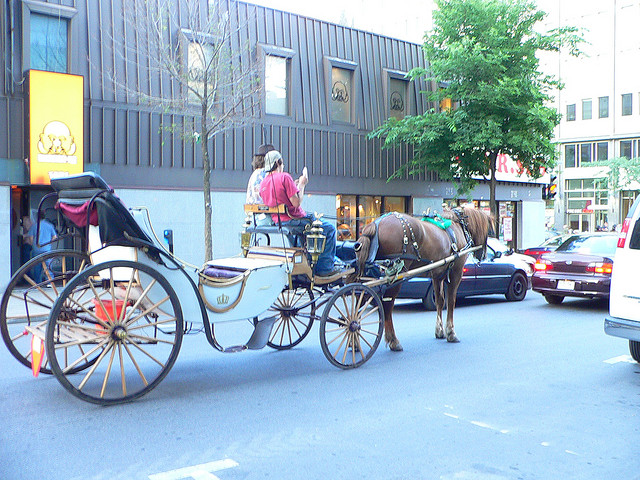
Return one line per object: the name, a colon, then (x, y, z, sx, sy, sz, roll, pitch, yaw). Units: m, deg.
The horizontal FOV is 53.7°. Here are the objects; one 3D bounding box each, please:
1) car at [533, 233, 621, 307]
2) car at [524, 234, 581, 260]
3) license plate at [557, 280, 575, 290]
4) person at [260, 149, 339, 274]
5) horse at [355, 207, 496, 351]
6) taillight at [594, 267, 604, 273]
car: (6.680, 0.560, 15.762, 1.203, 1.177, 2.853, 1, 10, 40)
car: (7.219, 0.243, 19.836, 1.700, 0.745, 0.814, -5, 4, -33)
license plate: (5.819, 1.066, 14.964, 0.375, 0.218, 0.097, 1, 3, 33)
person: (-0.312, -0.413, 10.021, 1.026, 2.126, 0.807, -9, 3, -31)
horse: (1.946, 0.645, 11.496, 0.976, 2.410, 3.422, 2, 4, 37)
taillight: (6.393, 0.702, 14.504, 0.193, 0.117, 0.048, 0, 3, 22)
